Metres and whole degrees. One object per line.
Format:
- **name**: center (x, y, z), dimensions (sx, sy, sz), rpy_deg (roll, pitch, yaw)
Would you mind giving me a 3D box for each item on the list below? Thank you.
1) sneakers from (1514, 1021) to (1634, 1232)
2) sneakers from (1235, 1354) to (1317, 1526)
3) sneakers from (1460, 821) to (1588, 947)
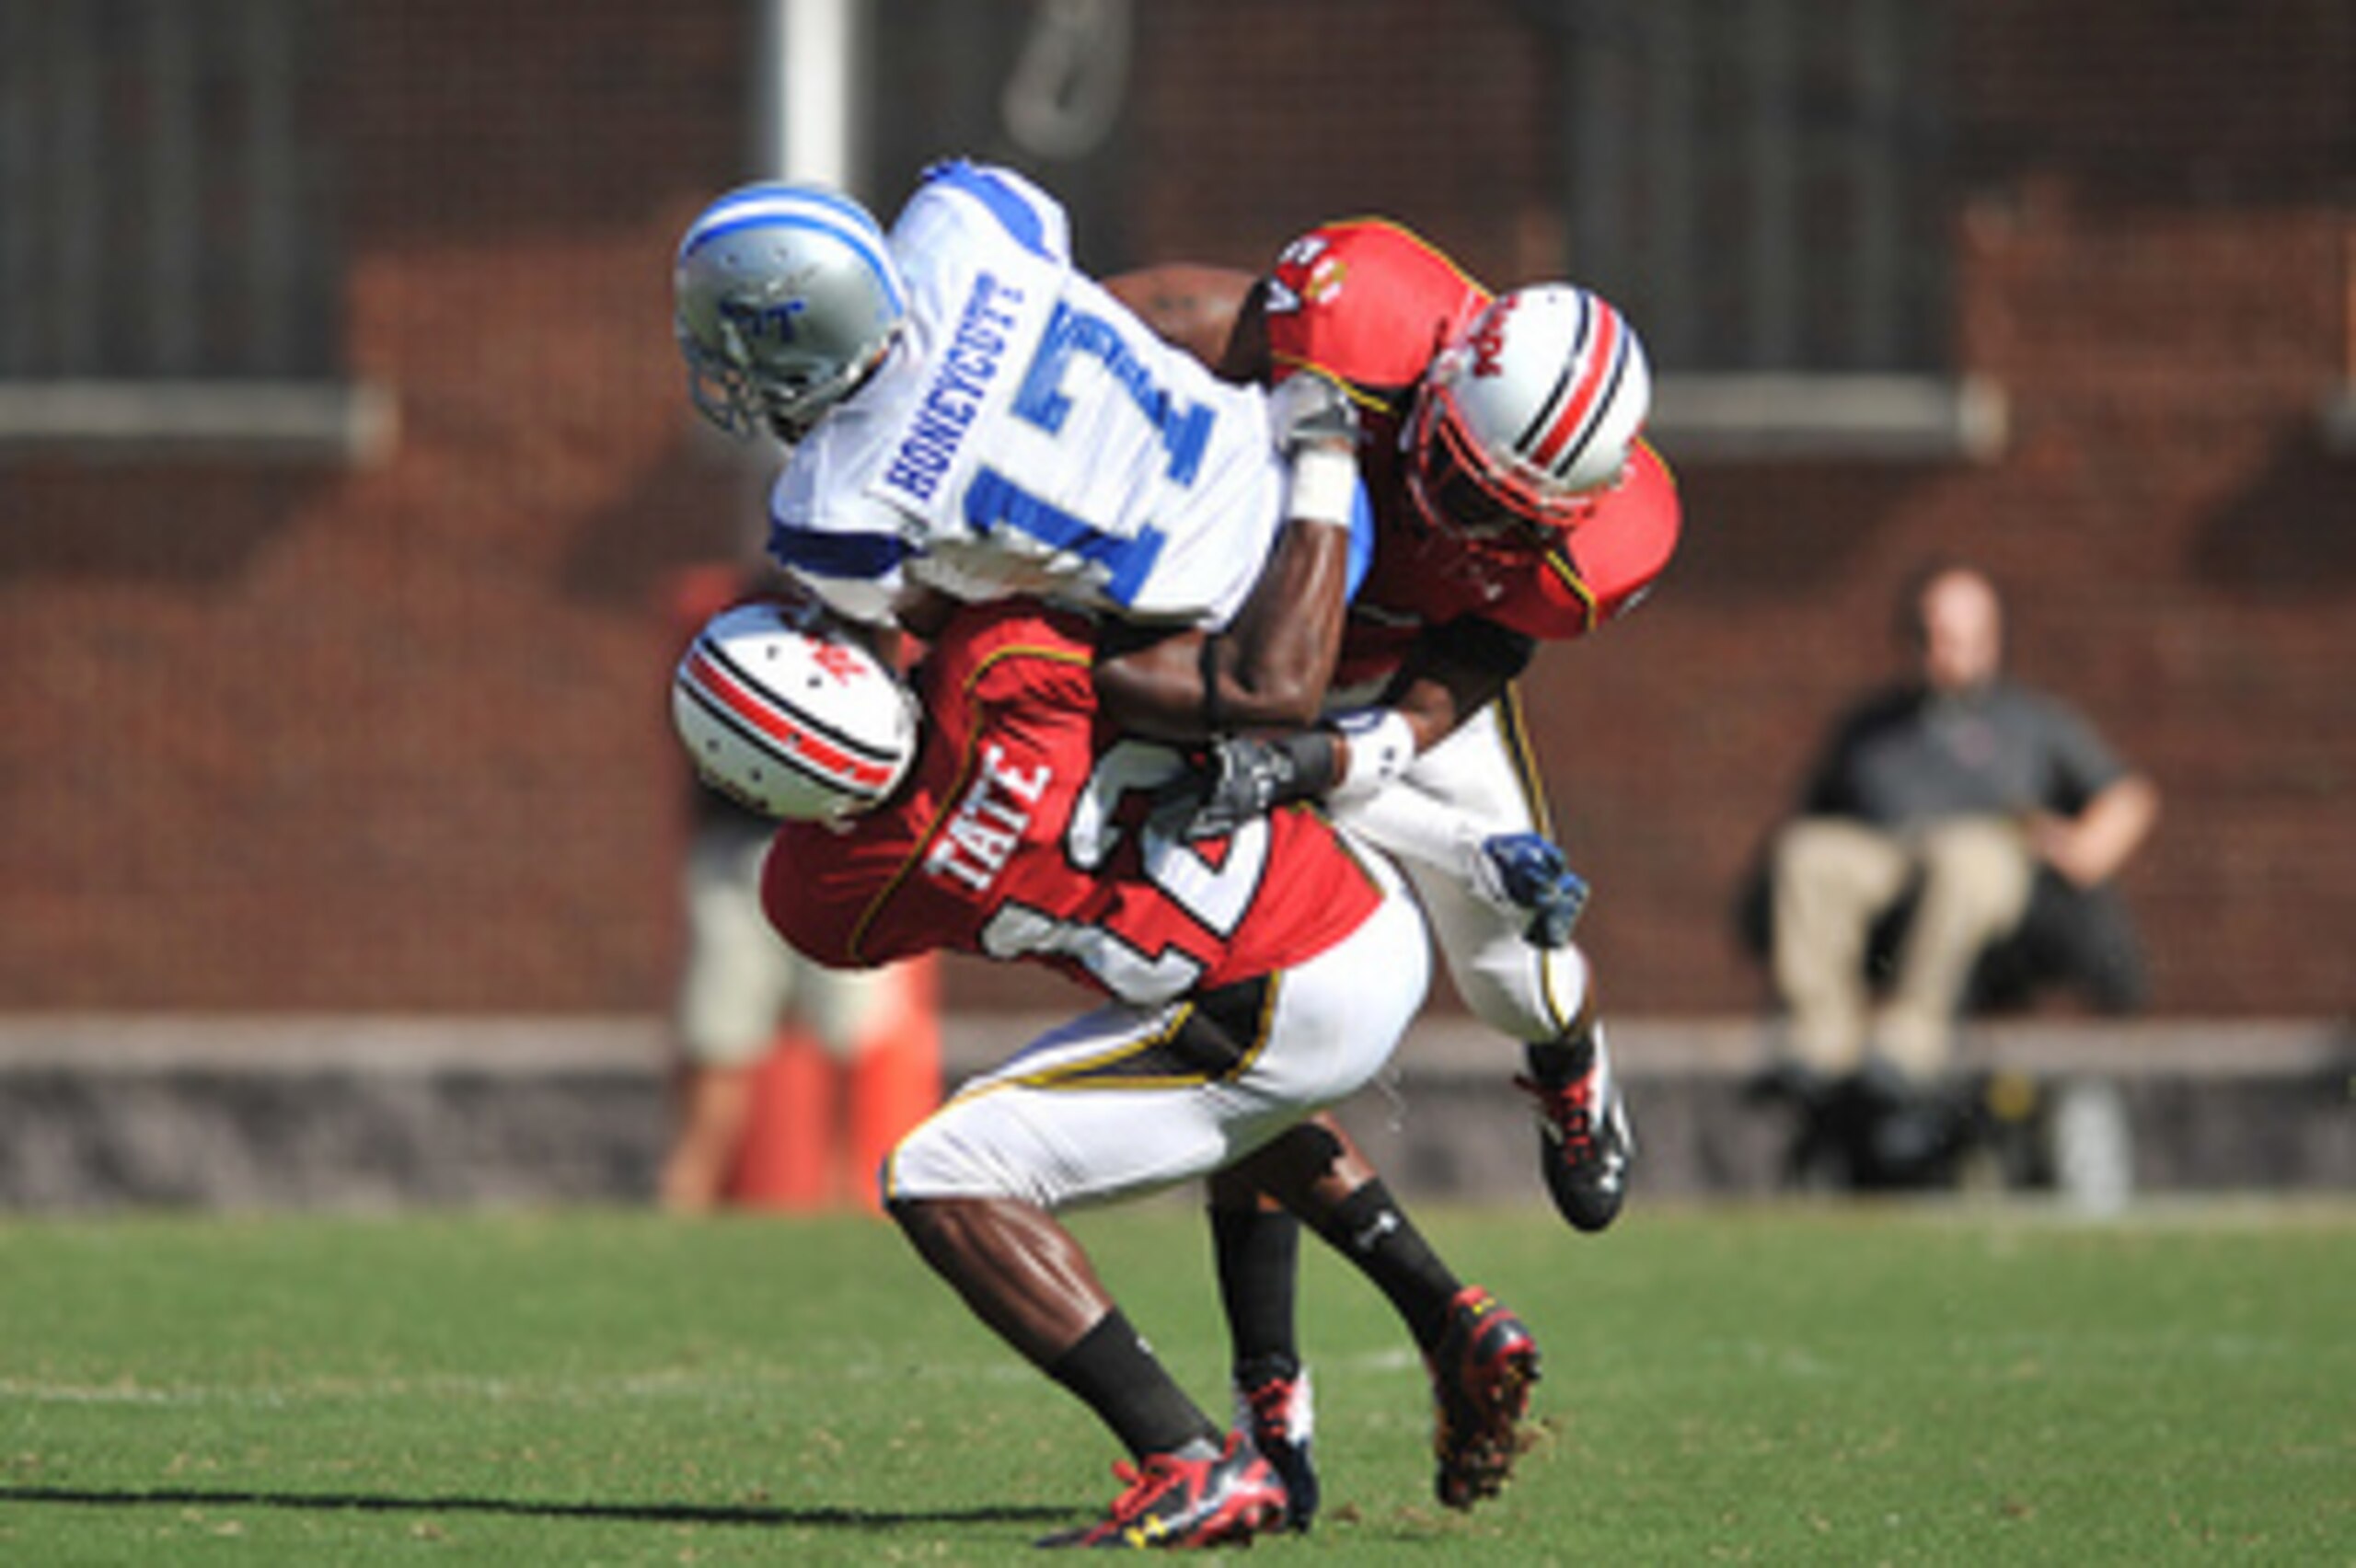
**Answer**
- **sneakers**: center (1.160, 0.960, 11.961), dimensions (0.220, 0.693, 0.282), rpy_deg (-11, 9, 13)
- **sneakers**: center (0.280, 1.749, 11.367), dimensions (0.152, 0.480, 0.216), rpy_deg (-8, -21, 0)
- **sneakers**: center (0.998, 0.227, 11.376), dimensions (0.142, 0.296, 0.288), rpy_deg (-17, 48, -42)
